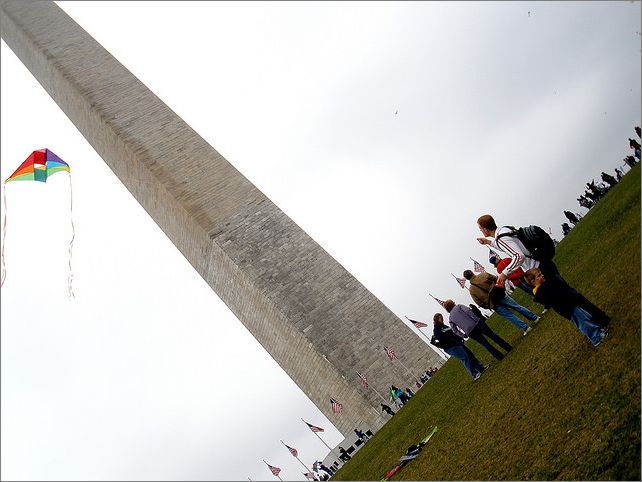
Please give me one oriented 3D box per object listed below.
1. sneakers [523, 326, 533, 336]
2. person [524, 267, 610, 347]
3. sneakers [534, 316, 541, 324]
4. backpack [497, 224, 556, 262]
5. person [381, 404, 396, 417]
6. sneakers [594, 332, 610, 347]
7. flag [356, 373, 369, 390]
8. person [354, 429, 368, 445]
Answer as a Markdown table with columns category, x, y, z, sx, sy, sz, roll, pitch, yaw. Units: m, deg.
| category | x | y | z | sx | sy | sz | roll | pitch | yaw |
| --- | --- | --- | --- | --- | --- | --- | --- | --- | --- |
| sneakers | 3.939 | 1.713 | 10.537 | 0.224 | 0.099 | 0.077 | 102 | 179 | -52 |
| person | 3.421 | 0.864 | 7.730 | 0.407 | 1.320 | 0.466 | -48 | -25 | 10 |
| sneakers | 4.221 | 1.527 | 10.775 | 0.059 | 0.074 | 0.168 | -52 | -19 | 3 |
| backpack | 3.183 | -0.007 | 8.463 | 0.492 | 0.720 | 0.542 | -6 | -45 | -54 |
| person | 3.125 | 7.988 | 26.266 | 0.390 | 0.556 | 0.971 | -41 | -25 | -7 |
| sneakers | 3.720 | 1.274 | 7.349 | 0.054 | 0.126 | 0.206 | 23 | -79 | -21 |
| flag | 2.044 | 6.799 | 27.216 | 0.423 | 0.691 | 0.659 | -42 | -25 | -6 |
| person | 2.025 | 9.758 | 27.898 | 0.384 | 0.495 | 0.912 | -43 | -50 | -40 |
